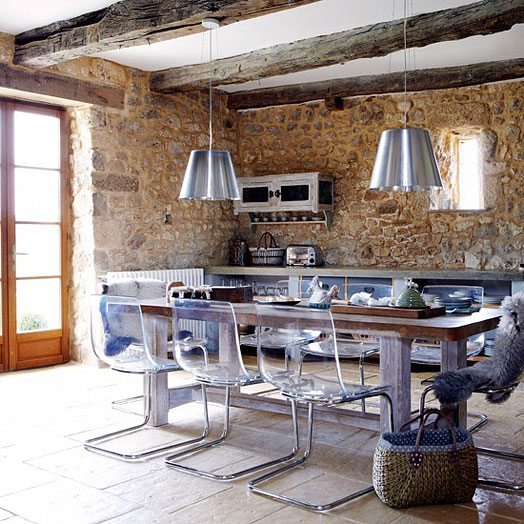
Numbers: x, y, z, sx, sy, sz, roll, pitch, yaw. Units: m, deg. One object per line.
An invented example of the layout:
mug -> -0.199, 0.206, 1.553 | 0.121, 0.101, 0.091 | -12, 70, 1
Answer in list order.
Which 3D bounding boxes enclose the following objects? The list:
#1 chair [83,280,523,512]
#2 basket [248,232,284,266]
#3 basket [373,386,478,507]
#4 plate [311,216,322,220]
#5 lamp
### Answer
chair -> 0.325, 0.595, 2.382 | 1.596, 0.885, 0.731 | -2, -2, 39
basket -> 0.081, -0.189, 6.579 | 0.459, 0.483, 0.503 | -1, -2, 11
basket -> 0.666, 0.810, 2.040 | 0.403, 0.414, 0.227 | -1, -2, 17
plate -> 0.707, -0.554, 6.363 | 0.157, 0.056, 0.059 | -1, -2, 14
lamp -> 0.512, -1.583, 4.918 | 2.470, 1.479, 0.619 | -1, -1, 28
